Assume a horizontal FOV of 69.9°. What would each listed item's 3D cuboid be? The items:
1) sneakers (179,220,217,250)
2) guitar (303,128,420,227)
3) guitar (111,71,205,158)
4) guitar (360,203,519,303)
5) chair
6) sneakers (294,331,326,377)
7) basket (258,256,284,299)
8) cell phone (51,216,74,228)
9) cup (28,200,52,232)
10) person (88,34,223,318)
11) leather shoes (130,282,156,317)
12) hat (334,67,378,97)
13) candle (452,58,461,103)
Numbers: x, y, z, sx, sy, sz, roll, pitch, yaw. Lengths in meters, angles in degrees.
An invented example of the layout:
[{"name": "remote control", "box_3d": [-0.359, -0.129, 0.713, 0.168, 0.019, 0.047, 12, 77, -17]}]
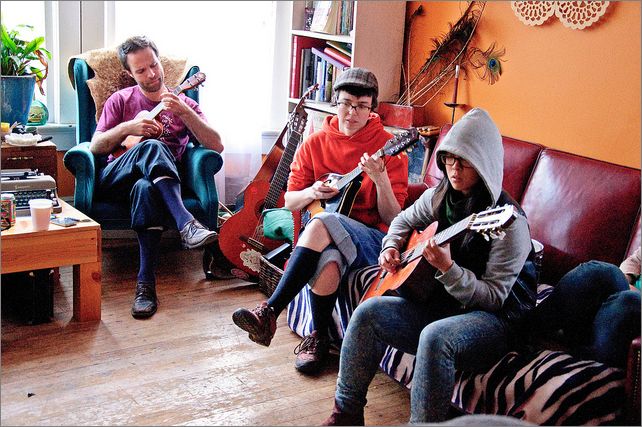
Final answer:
[{"name": "sneakers", "box_3d": [-0.773, 0.125, 2.833, 0.160, 0.164, 0.370, -24, 9, -37]}, {"name": "guitar", "box_3d": [0.185, -0.194, 2.469, 0.773, 0.104, 0.304, -29, -9, 30]}, {"name": "guitar", "box_3d": [-1.070, -0.677, 3.185, 0.326, 0.873, 0.119, 50, 14, 17]}, {"name": "guitar", "box_3d": [0.449, 0.168, 1.816, 0.089, 0.316, 0.625, 35, -33, -9]}, {"name": "chair", "box_3d": [-1.346, -0.431, 3.367, 1.076, 1.427, 1.078, -2, 2, -39]}, {"name": "sneakers", "box_3d": [-0.057, 0.712, 2.413, 0.122, 0.137, 0.315, 8, 9, 11]}, {"name": "basket", "box_3d": [-0.284, 0.419, 2.878, 0.171, 0.208, 0.200, -16, -1, -16]}, {"name": "cell phone", "box_3d": [-1.412, 0.053, 2.506, 0.143, 0.015, 0.085, 8, 17, 24]}, {"name": "cup", "box_3d": [-1.488, 0.015, 2.429, 0.124, 0.139, 0.128, 0, 3, 0]}, {"name": "person", "box_3d": [-1.064, -0.320, 2.969, 0.762, 1.549, 1.097, -6, 20, -27]}, {"name": "leather shoes", "box_3d": [-1.044, 0.510, 2.696, 0.151, 0.146, 0.179, -4, 19, -22]}, {"name": "hat", "box_3d": [0.218, -0.728, 2.571, 0.232, 0.152, 0.312, 9, 11, 26]}, {"name": "candle", "box_3d": [0.933, -0.876, 3.149, 0.043, 0.252, 0.262, 8, 19, 13]}]
